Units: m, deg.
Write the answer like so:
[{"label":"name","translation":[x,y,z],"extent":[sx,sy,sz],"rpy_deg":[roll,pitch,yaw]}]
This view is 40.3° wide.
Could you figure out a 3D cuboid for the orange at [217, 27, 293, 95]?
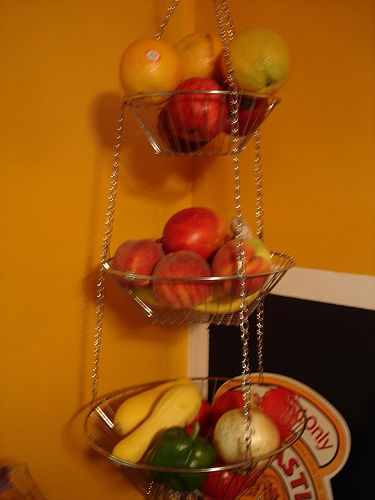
[{"label":"orange","translation":[0.101,-0.220,0.628],"extent":[0.109,0.078,0.099],"rpy_deg":[0,17,11]}]

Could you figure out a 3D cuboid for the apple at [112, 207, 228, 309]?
[{"label":"apple","translation":[-0.014,0.000,0.668],"extent":[0.131,0.140,0.061],"rpy_deg":[-2,-39,32]}]

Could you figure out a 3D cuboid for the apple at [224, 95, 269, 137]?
[{"label":"apple","translation":[0.069,-0.159,0.608],"extent":[0.051,0.046,0.076],"rpy_deg":[6,13,5]}]

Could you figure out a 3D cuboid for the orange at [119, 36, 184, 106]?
[{"label":"orange","translation":[-0.041,-0.217,0.623],"extent":[0.083,0.078,0.072],"rpy_deg":[2,18,1]}]
